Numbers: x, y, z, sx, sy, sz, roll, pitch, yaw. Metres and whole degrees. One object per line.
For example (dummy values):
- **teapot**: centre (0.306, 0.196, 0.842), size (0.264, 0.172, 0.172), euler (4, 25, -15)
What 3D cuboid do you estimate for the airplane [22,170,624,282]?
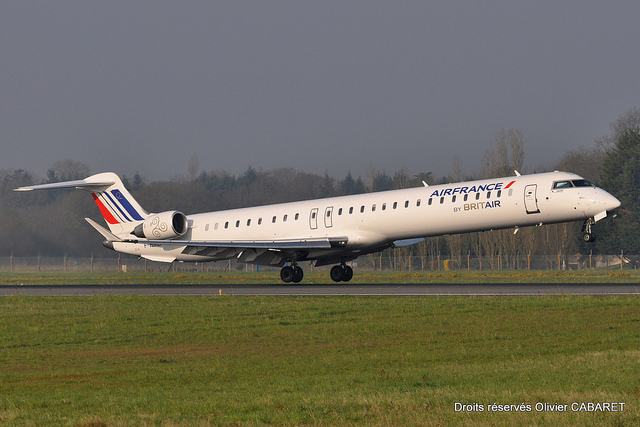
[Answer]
- **airplane**: centre (0.826, 1.448, 88.890), size (48.018, 8.453, 12.018), euler (-4, 0, 11)
